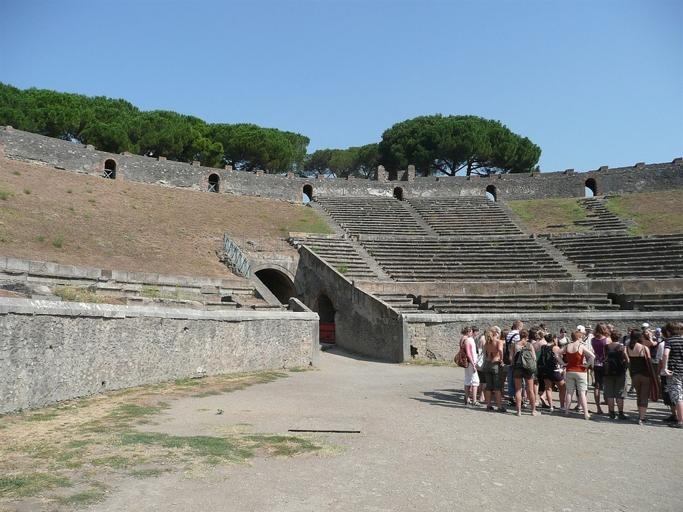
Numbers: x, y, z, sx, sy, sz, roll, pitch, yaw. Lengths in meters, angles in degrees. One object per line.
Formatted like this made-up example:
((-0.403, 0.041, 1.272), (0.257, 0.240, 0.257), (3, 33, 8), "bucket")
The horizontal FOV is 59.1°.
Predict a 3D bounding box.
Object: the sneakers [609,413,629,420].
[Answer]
((5.723, 3.297, 12.363), (0.412, 0.178, 0.156), (-4, -5, 11), "sneakers")

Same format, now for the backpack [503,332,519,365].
((3.735, 1.965, 12.982), (0.423, 0.617, 0.611), (1, 12, 13), "backpack")

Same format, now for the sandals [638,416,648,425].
((5.998, 3.297, 12.013), (0.099, 0.137, 0.313), (-2, 10, 18), "sandals")
